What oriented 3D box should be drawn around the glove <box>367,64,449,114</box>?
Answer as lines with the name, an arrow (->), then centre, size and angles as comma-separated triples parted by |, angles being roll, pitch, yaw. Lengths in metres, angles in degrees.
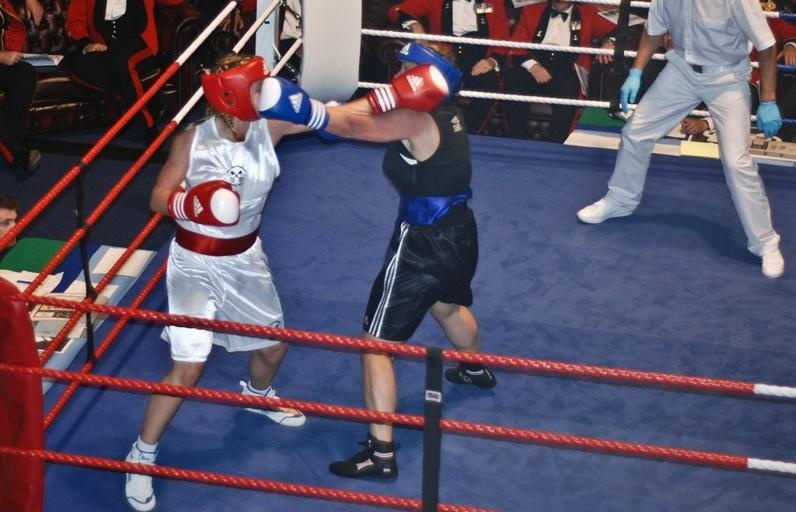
glove -> 0.044, -0.647, 2.956 | 0.303, 0.158, 0.121 | -21, -10, -2

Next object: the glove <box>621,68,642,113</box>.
glove -> 1.432, -1.022, 4.527 | 0.122, 0.293, 0.098 | 2, 6, -34

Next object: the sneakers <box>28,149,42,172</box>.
sneakers -> -2.878, -0.744, 5.742 | 0.055, 0.142, 0.106 | 16, 32, 18

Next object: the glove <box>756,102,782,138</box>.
glove -> 2.091, -0.771, 4.190 | 0.165, 0.183, 0.081 | -4, 13, -18

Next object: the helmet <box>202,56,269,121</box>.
helmet -> -0.644, -0.678, 2.933 | 0.307, 0.227, 0.225 | 8, 15, 3

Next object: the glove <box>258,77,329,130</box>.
glove -> -0.421, -0.588, 2.900 | 0.288, 0.153, 0.107 | 15, -23, -25

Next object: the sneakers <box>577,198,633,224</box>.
sneakers -> 1.230, -0.275, 4.534 | 0.410, 0.139, 0.133 | -5, 40, -5
